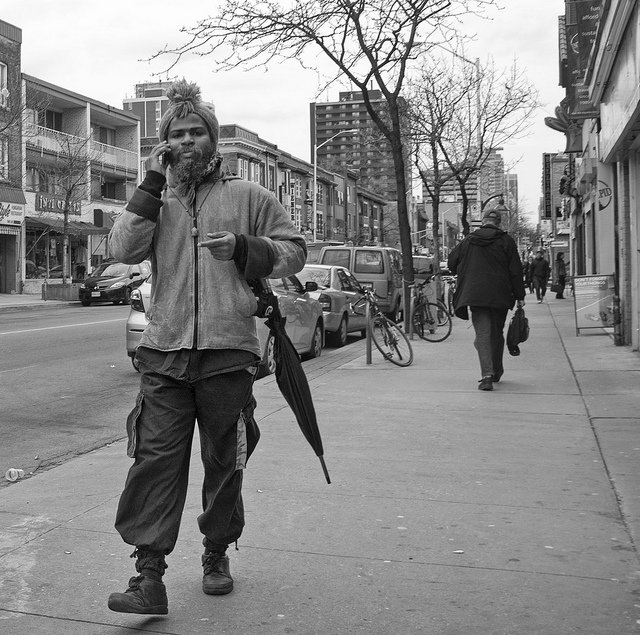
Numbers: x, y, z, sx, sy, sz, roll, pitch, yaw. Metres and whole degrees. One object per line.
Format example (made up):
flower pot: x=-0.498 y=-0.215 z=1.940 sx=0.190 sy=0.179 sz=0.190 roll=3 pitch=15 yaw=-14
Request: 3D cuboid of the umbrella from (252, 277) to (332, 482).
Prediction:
umbrella: x=-0.245 y=0.500 z=6.551 sx=0.232 sy=1.698 sz=0.248 roll=-8 pitch=24 yaw=35

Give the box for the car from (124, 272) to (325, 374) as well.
car: x=-0.764 y=0.203 z=11.388 sx=0.971 sy=1.110 sz=2.549 roll=-5 pitch=6 yaw=22

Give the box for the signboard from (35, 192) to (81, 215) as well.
signboard: x=-13.658 y=-5.986 z=40.492 sx=1.508 sy=1.088 sz=3.333 roll=-2 pitch=3 yaw=-5

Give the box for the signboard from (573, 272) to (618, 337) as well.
signboard: x=5.039 y=-0.233 z=14.231 sx=0.743 sy=1.112 sz=0.694 roll=0 pitch=3 yaw=19

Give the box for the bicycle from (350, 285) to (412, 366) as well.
bicycle: x=0.837 y=-0.213 z=12.204 sx=1.034 sy=0.941 sz=1.869 roll=2 pitch=5 yaw=3

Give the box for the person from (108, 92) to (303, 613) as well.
person: x=-0.471 y=0.126 z=3.076 sx=0.770 sy=2.048 sz=0.452 roll=-2 pitch=3 yaw=-17

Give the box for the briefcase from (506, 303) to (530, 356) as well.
briefcase: x=2.425 y=0.135 z=9.473 sx=0.230 sy=0.686 sz=0.232 roll=3 pitch=6 yaw=35

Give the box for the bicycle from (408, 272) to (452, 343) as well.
bicycle: x=2.121 y=-0.182 z=15.411 sx=0.751 sy=1.172 sz=1.805 roll=2 pitch=7 yaw=15

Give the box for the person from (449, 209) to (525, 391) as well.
person: x=1.883 y=-0.239 z=8.779 sx=0.834 sy=1.990 sz=0.859 roll=-1 pitch=3 yaw=13
